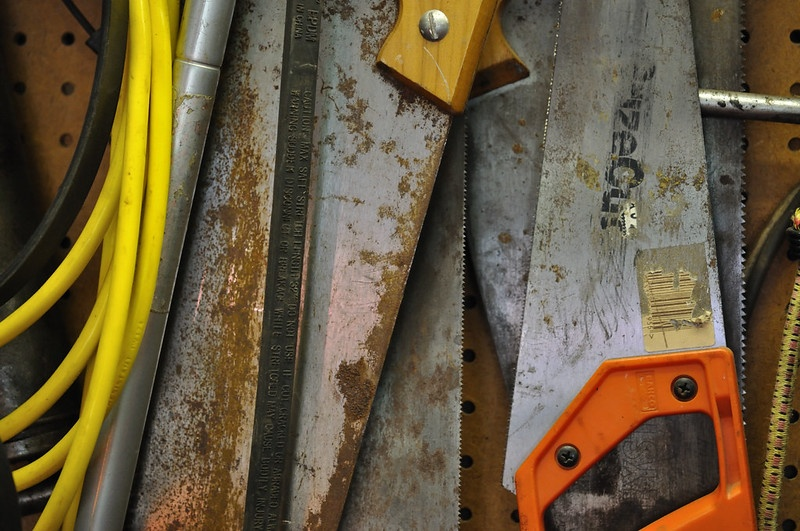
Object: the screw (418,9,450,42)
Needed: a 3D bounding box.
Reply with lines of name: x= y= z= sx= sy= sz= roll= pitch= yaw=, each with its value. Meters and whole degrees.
screw: x=0.075 y=-0.518 z=2.255 sx=0.053 sy=0.071 sz=0.015 roll=-8 pitch=2 yaw=4
